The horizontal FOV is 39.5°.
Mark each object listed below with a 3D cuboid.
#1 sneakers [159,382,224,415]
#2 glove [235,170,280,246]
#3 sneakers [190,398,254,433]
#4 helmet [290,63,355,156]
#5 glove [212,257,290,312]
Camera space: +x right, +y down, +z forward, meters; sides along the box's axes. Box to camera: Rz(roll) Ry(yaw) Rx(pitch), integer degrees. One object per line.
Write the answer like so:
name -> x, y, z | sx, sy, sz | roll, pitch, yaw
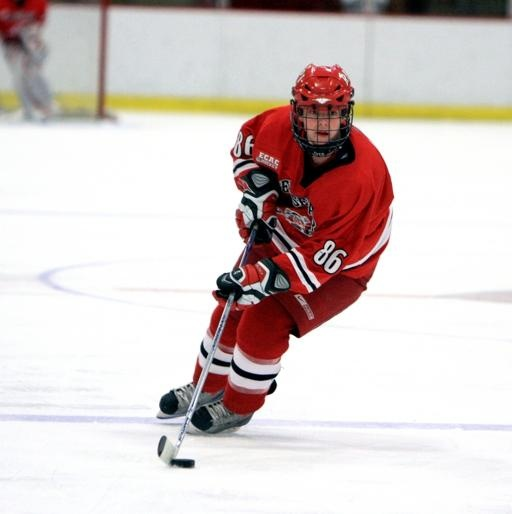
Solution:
sneakers -> -0.182, 0.385, 1.978 | 0.182, 0.061, 0.055 | -10, 56, -35
glove -> 0.010, -0.143, 2.023 | 0.145, 0.185, 0.099 | 6, -3, 40
sneakers -> -0.096, 0.405, 1.853 | 0.203, 0.054, 0.073 | -9, -9, -30
helmet -> 0.173, -0.391, 1.844 | 0.195, 0.183, 0.218 | 4, 24, 9
glove -> -0.016, 0.045, 1.745 | 0.192, 0.046, 0.093 | 7, -8, -4
